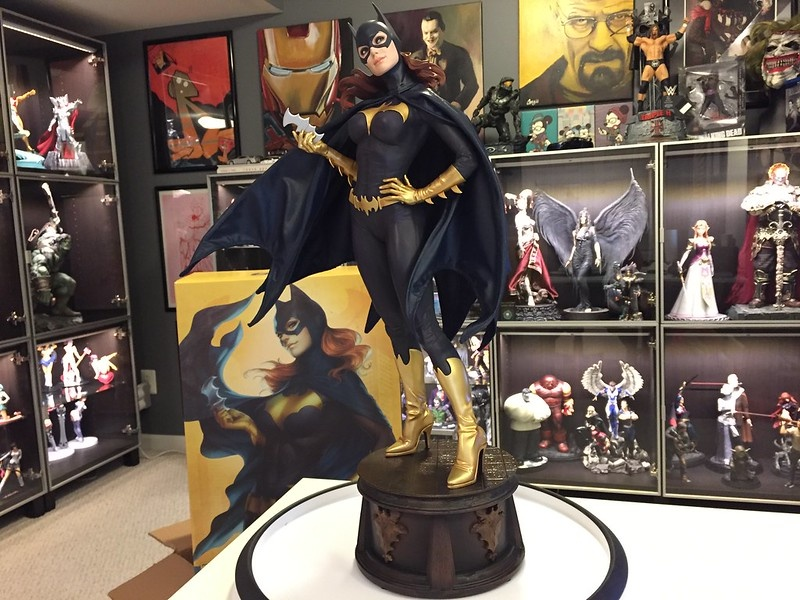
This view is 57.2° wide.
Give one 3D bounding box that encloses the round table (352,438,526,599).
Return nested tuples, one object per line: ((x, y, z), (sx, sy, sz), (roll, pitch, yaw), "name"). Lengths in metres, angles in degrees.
((0.143, 0.763, 2.741), (0.523, 0.307, 0.531), (-1, 5, 0), "round table")

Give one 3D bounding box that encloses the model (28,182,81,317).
((-2.256, -0.339, 4.770), (0.281, 0.707, 0.621), (-5, 31, -25), "model")

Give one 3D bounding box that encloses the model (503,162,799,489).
((1.548, 0.098, 4.338), (1.927, 2.192, 0.637), (1, 4, 12), "model")

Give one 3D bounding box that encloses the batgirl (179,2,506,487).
((-0.107, -0.219, 2.908), (1.001, 1.741, 0.384), (0, 9, 26), "batgirl")
